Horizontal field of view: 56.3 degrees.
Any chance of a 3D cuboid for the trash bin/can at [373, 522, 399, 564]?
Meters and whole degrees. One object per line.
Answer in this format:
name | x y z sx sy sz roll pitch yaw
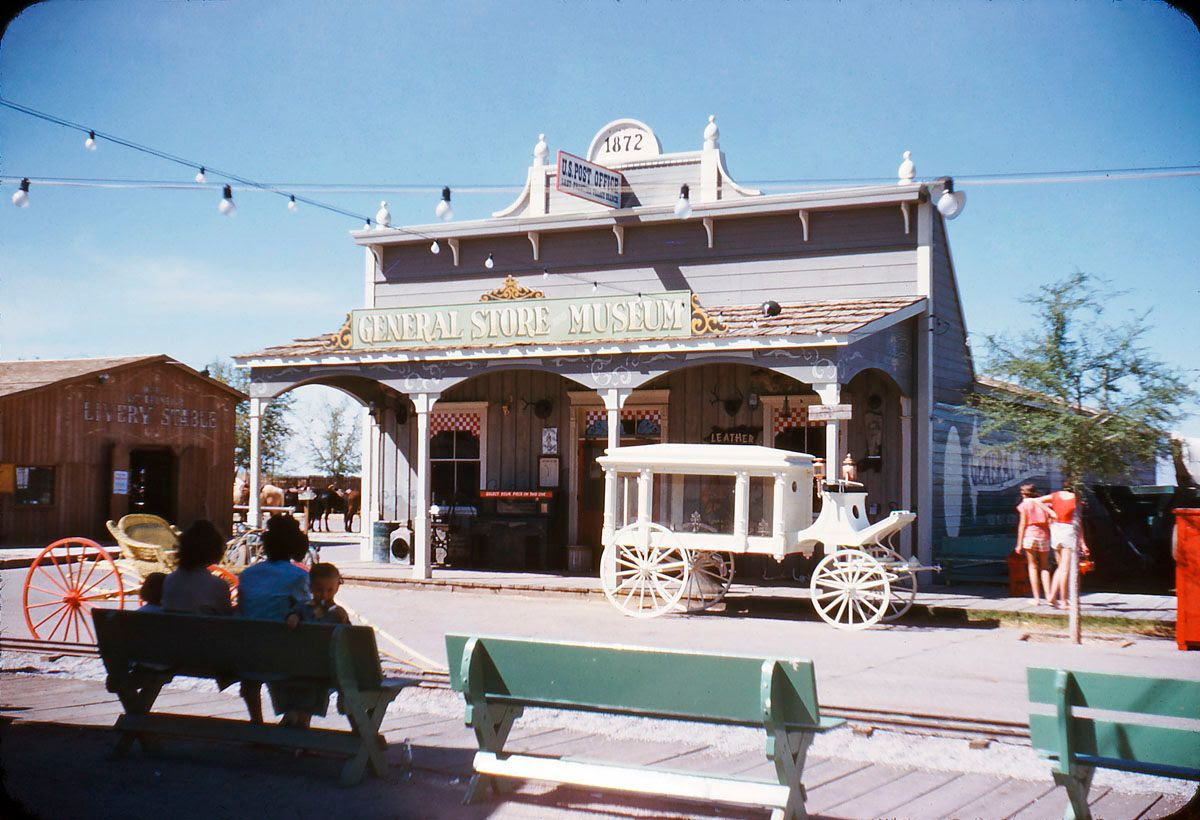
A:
trash bin/can | -3.982 2.487 20.974 0.471 0.761 0.351 1 -6 -15
